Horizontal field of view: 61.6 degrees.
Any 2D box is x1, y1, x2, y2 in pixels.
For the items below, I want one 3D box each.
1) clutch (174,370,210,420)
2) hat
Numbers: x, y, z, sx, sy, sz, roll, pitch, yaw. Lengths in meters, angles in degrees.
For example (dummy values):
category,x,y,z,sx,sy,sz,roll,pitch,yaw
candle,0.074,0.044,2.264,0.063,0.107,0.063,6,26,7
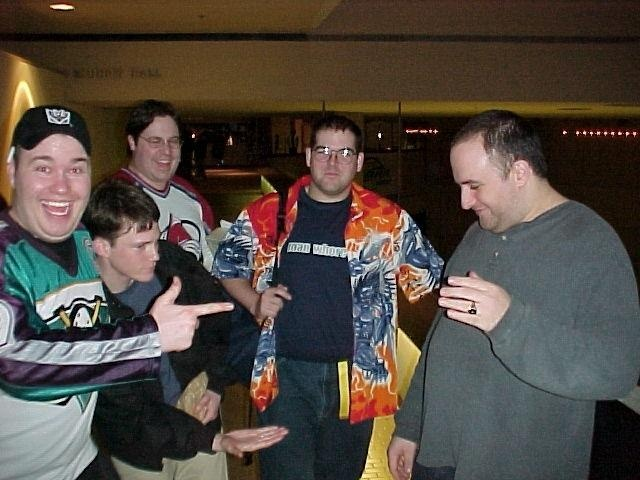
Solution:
category,x,y,z,sx,sy,sz,roll,pitch,yaw
clutch,-0.498,0.613,2.122,0.050,0.132,0.205,-4,18,15
hat,-0.818,-0.336,1.641,0.199,0.097,0.149,6,8,23
